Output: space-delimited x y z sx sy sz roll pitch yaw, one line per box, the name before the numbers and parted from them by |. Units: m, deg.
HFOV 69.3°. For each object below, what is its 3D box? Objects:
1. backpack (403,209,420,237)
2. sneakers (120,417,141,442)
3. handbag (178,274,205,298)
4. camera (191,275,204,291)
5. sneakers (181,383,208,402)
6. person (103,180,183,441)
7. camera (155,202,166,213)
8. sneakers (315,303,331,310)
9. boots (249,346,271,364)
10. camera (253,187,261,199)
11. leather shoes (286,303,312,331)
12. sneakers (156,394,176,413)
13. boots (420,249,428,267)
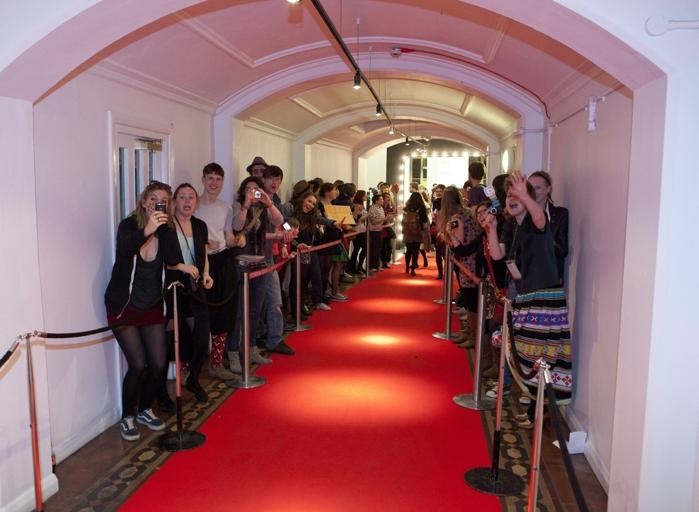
backpack | 1.421 -0.753 11.591 0.435 0.599 0.280 7 23 17
sneakers | -1.951 1.539 4.448 0.104 0.120 0.277 4 -3 -33
handbag | -1.530 0.302 4.834 0.231 0.103 0.174 40 23 27
camera | -1.492 0.278 4.885 0.080 0.081 0.109 -5 3 -44
sneakers | -1.596 1.373 5.159 0.340 0.148 0.117 23 19 38
person | -1.768 0.500 4.443 0.768 2.268 0.504 6 9 41
camera | -1.549 -0.389 4.107 0.072 0.081 0.094 -1 8 -11
sneakers | -0.483 0.894 8.873 0.256 0.117 0.106 6 12 15
boots | -1.130 1.227 6.206 0.324 0.251 0.133 1 6 -9
camera | -1.019 -0.671 5.462 0.075 0.086 0.026 0 -5 12
leather shoes | -0.875 1.027 7.846 0.185 0.246 0.558 -6 2 -39
sneakers | -1.788 1.442 4.888 0.208 0.230 0.110 0 0 16
boots | 2.088 0.089 14.357 0.129 0.432 0.295 -6 25 -1
